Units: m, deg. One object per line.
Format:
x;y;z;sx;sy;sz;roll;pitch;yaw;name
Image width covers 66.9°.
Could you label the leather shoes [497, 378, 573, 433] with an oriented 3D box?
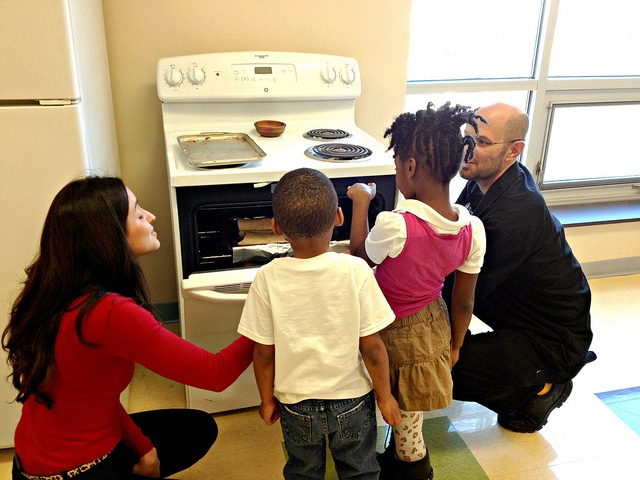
0.895;0.735;2.086;0.334;0.166;0.161;-36;51;15;leather shoes
